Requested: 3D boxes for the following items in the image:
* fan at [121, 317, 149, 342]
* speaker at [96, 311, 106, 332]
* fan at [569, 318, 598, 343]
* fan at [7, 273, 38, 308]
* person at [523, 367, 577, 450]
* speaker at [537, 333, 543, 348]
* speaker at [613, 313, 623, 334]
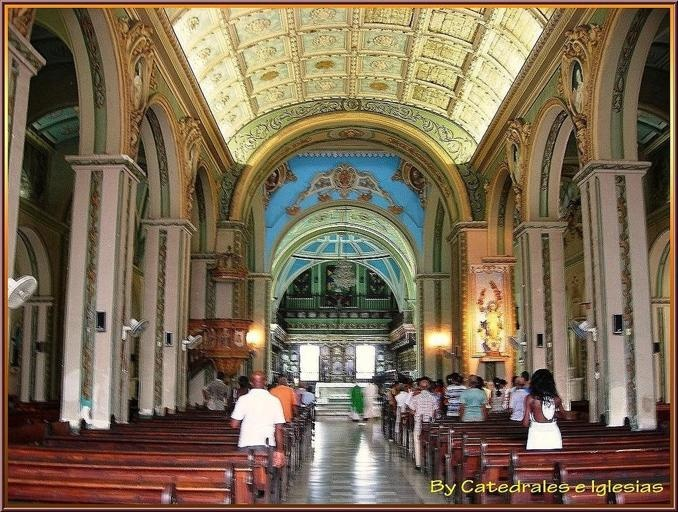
[{"bbox_3d":[-3.407,1.229,10.566,0.345,0.121,0.270,-31,-30,23],"label":"fan"},{"bbox_3d":[-3.570,0.992,9.573,0.152,0.315,0.043,1,-11,-10],"label":"speaker"},{"bbox_3d":[4.072,1.258,10.636,0.299,0.394,1.035,-4,-11,12],"label":"fan"},{"bbox_3d":[-3.179,0.347,6.418,0.211,0.404,1.003,4,-12,-24],"label":"fan"},{"bbox_3d":[2.322,1.906,7.195,0.495,1.353,0.402,-5,21,3],"label":"person"},{"bbox_3d":[4.307,1.809,13.641,0.140,0.311,0.051,-6,-12,25],"label":"speaker"},{"bbox_3d":[4.311,1.061,9.851,0.170,0.308,0.046,1,-11,-11],"label":"speaker"}]
